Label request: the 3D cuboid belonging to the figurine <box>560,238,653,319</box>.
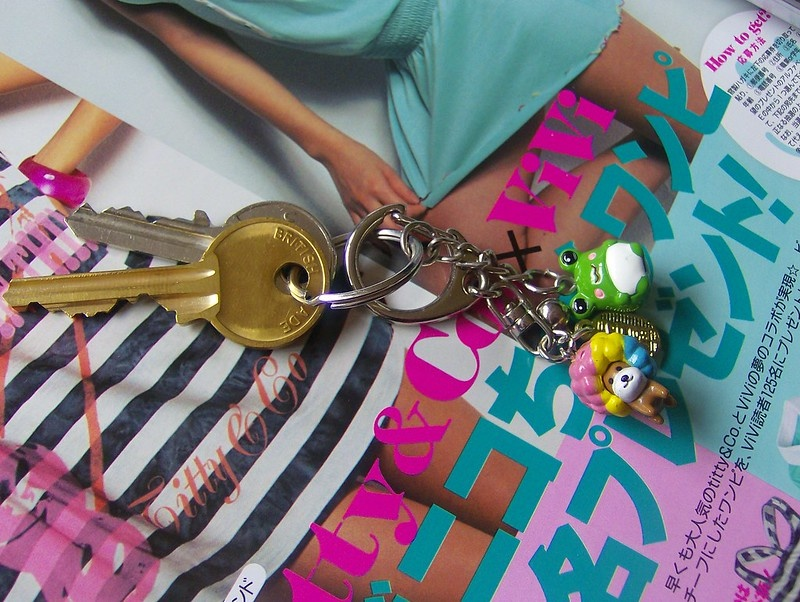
[{"bbox_3d":[0.386,-0.018,1.474,0.155,0.147,0.132,-21,-20,41],"label":"figurine"}]
